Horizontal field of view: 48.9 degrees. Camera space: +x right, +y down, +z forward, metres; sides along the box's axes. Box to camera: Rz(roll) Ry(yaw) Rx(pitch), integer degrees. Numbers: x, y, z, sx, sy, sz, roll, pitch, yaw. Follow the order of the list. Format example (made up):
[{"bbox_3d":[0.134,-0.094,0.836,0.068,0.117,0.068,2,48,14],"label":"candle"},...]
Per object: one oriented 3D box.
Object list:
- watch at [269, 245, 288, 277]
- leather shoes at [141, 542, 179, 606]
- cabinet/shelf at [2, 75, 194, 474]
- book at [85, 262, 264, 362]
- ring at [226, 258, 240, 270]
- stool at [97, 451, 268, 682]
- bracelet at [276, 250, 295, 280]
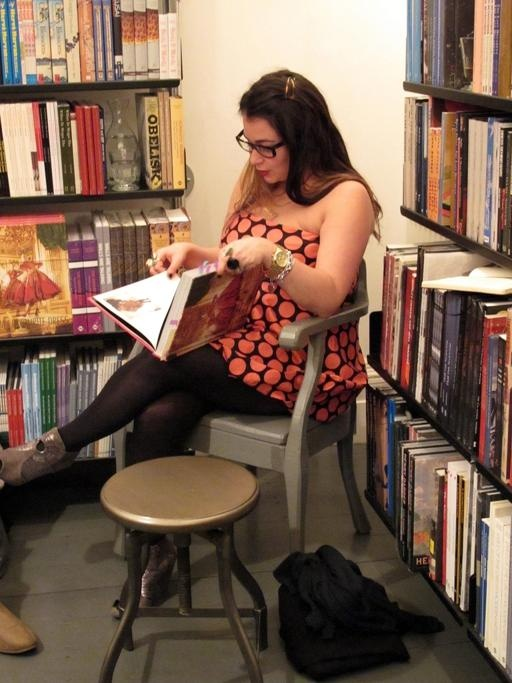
[{"bbox_3d":[0.046,-0.157,1.108,0.029,0.056,0.043,11,9,17],"label":"watch"},{"bbox_3d":[-0.245,0.530,1.360,0.094,0.157,0.076,8,7,27],"label":"leather shoes"},{"bbox_3d":[-0.447,-0.309,1.807,0.670,0.915,0.211,-15,24,-37],"label":"cabinet/shelf"},{"bbox_3d":[-0.154,-0.104,1.159,0.116,0.211,0.275,46,30,13],"label":"book"},{"bbox_3d":[-0.042,-0.141,1.031,0.020,0.018,0.019,6,3,0],"label":"ring"},{"bbox_3d":[-0.133,0.454,1.049,0.303,0.455,0.320,-3,13,-3],"label":"stool"},{"bbox_3d":[0.051,-0.151,1.106,0.022,0.050,0.039,9,7,0],"label":"bracelet"}]
